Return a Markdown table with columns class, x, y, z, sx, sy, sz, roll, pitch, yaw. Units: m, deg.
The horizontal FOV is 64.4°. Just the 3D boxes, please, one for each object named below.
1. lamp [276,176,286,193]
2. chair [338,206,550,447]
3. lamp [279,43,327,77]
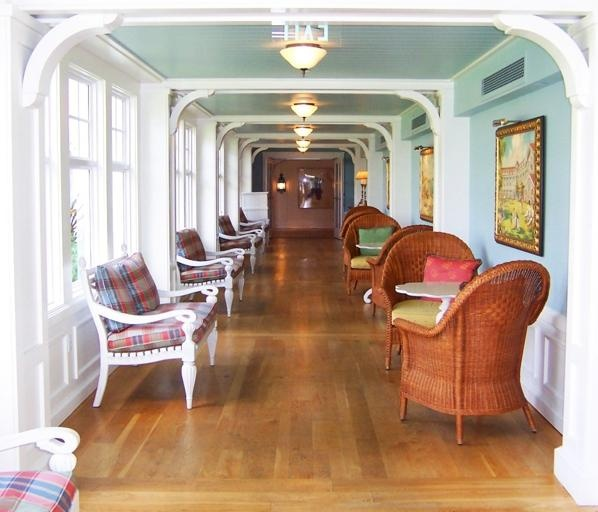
| class | x | y | z | sx | sy | sz | roll | pitch | yaw |
| --- | --- | --- | --- | --- | --- | --- | --- | --- | --- |
| lamp | -0.716 | -2.738 | 18.376 | 0.360 | 0.664 | 0.204 | -2 | 9 | -9 |
| chair | 1.003 | 0.424 | 3.502 | 1.031 | 1.186 | 1.367 | -1 | -2 | -9 |
| lamp | 0.040 | -1.467 | 3.607 | 0.268 | 0.157 | 0.270 | -1 | 3 | 7 |
